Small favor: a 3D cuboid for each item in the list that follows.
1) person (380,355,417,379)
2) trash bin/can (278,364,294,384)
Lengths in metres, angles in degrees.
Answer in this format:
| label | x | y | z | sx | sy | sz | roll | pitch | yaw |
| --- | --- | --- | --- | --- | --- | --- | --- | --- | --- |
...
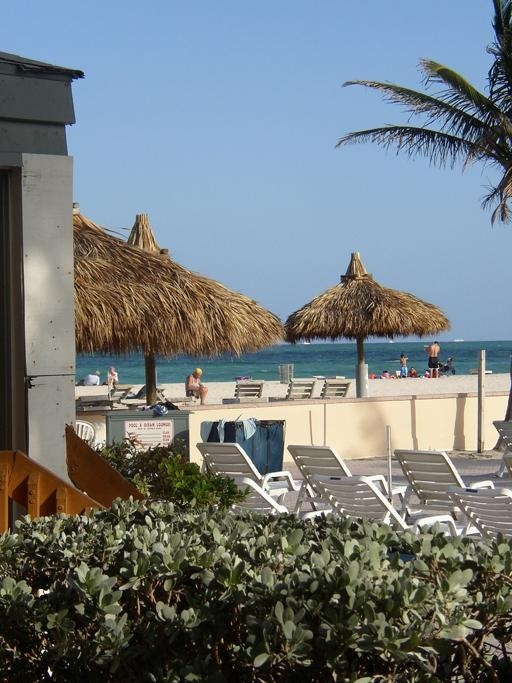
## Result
| label | x | y | z | sx | sy | sz | roll | pitch | yaw |
| --- | --- | --- | --- | --- | --- | --- | --- | --- | --- |
| person | 7.772 | 1.405 | 63.195 | 1.582 | 1.600 | 0.511 | -1 | -3 | -12 |
| trash bin/can | 0.753 | 0.868 | 29.562 | 0.429 | 0.596 | 0.443 | -1 | 0 | 3 |
